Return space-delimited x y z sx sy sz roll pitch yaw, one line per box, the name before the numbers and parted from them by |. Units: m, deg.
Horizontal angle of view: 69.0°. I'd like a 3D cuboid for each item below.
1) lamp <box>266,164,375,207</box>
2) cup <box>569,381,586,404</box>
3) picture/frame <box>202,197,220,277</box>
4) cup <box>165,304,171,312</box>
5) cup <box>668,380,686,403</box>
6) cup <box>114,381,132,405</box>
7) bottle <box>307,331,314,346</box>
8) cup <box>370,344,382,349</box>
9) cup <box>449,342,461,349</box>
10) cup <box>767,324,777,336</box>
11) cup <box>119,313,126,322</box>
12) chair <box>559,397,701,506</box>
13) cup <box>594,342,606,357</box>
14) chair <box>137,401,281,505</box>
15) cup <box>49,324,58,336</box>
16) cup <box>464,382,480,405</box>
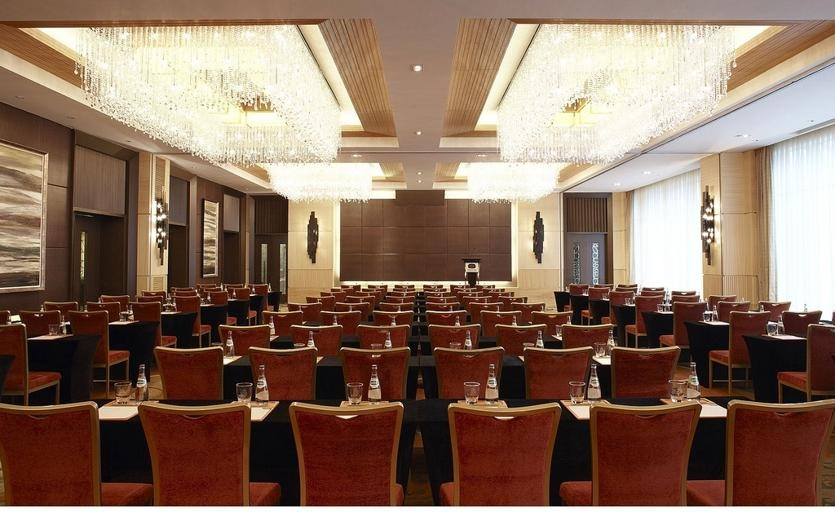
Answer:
lamp | -2.533 -2.021 16.067 2.640 0.860 1.159 1 -3 -14
cup | 1.732 1.503 6.690 0.229 0.242 0.228 0 -9 0
picture/frame | -6.386 -0.570 18.459 0.099 2.312 1.708 3 6 -34
cup | -4.561 0.960 11.197 0.124 0.121 0.115 1 8 0
cup | 2.800 1.448 6.526 0.205 0.226 0.202 0 -3 0
cup | -3.208 1.478 6.591 0.205 0.228 0.209 -1 -10 0
bottle | -1.416 1.089 8.126 0.098 0.180 0.312 1 -3 -10
cup | -0.510 1.158 7.794 0.095 0.057 0.094 0 -5 0
cup | 0.472 1.118 7.623 0.103 0.076 0.093 -2 -6 12
cup | 5.237 1.080 8.964 0.153 0.176 0.154 1 -6 0
cup | -4.937 1.026 10.211 0.142 0.156 0.140 -1 -7 0
chair | 2.070 1.940 6.212 0.986 1.683 1.040 1 -1 1
cup | 2.277 1.187 7.630 0.157 0.139 0.146 0 -6 0
chair | -2.054 1.909 6.236 0.879 1.450 1.079 0 -3 2
cup | -5.268 1.075 8.868 0.129 0.150 0.159 -2 -10 6
cup | 0.572 1.461 6.474 0.210 0.219 0.215 -1 -9 0
